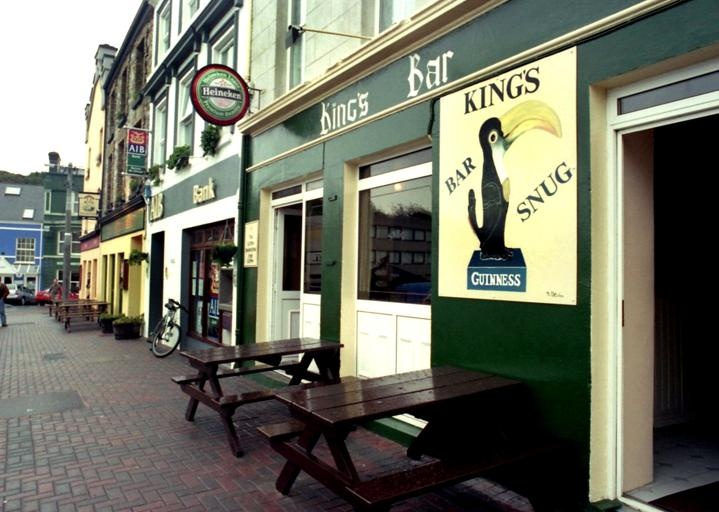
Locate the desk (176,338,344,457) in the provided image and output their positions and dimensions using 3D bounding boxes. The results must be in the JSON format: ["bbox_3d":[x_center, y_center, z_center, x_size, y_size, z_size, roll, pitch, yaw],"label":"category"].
[{"bbox_3d":[-1.404,1.426,7.159,1.733,0.816,1.289,-3,3,-39],"label":"desk"}]

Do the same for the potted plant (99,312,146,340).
[{"bbox_3d":[-6.751,1.994,16.025,0.941,0.395,1.089,5,-6,-41],"label":"potted plant"}]

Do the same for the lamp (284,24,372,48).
[{"bbox_3d":[-0.495,-3.154,8.022,1.085,0.285,0.700,6,19,-2],"label":"lamp"}]

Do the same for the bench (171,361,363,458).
[{"bbox_3d":[-1.226,1.614,7.071,1.626,0.734,1.281,-2,0,-34],"label":"bench"}]

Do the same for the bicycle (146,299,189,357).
[{"bbox_3d":[-4.315,1.604,12.774,0.812,1.225,1.427,-4,4,-17],"label":"bicycle"}]
